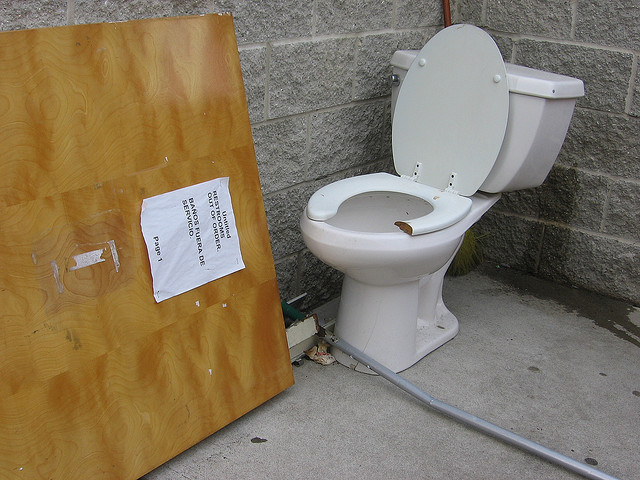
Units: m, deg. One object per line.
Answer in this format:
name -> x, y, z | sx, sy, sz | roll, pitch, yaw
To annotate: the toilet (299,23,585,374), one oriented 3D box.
toilet -> 0.355, -0.127, 1.781 | 0.912, 1.040, 0.688 | -20, 31, -41
